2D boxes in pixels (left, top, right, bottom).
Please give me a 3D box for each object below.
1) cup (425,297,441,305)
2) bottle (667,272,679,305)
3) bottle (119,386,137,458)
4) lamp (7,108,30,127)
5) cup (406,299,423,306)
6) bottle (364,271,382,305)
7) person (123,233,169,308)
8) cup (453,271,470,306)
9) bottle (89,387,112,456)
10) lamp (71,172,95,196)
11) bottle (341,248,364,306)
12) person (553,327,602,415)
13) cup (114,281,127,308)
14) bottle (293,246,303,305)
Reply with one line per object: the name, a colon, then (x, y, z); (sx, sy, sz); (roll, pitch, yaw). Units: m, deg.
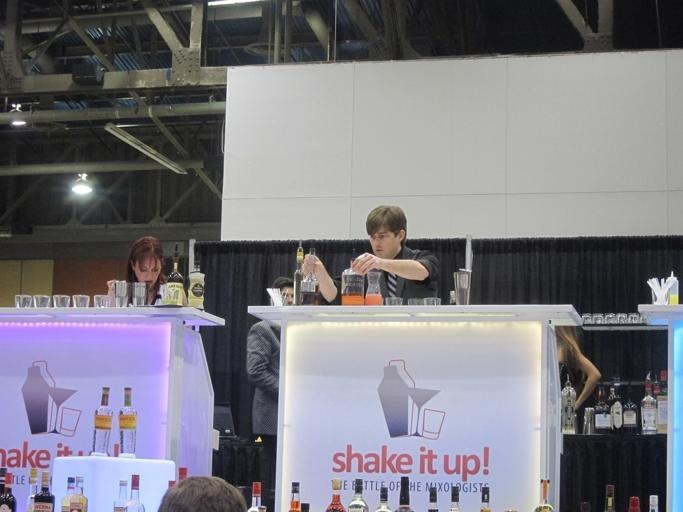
cup: (0.781, 0.389, 15.600); (0.075, 0.059, 0.081); (1, -2, 0)
bottle: (2.831, 0.284, 15.483); (0.088, 0.295, 0.285); (-2, -10, 8)
bottle: (-1.826, 1.421, 15.537); (0.161, 0.579, 0.207); (1, -10, -8)
lamp: (-4.020, -1.753, 22.636); (0.223, 0.263, 0.391); (1, -11, -11)
cup: (0.647, 0.393, 15.575); (0.072, 0.058, 0.070); (0, -4, 0)
bottle: (0.281, 0.266, 15.666); (0.139, 0.323, 0.151); (-1, -10, 0)
person: (-1.718, 0.113, 16.025); (0.450, 0.766, 0.487); (1, -10, -14)
cup: (1.046, 0.262, 15.660); (0.137, 0.345, 0.229); (-1, -10, 3)
bottle: (-2.040, 1.420, 15.522); (0.179, 0.566, 0.305); (1, -10, -8)
lamp: (-3.472, -0.983, 24.351); (0.326, 0.355, 0.353); (0, -24, -4)
bottle: (0.113, 0.237, 15.659); (0.208, 0.411, 0.190); (-1, -10, 0)
person: (2.294, 1.146, 17.735); (0.358, 1.220, 0.617); (4, -15, -10)
cup: (-1.904, 0.325, 15.710); (0.116, 0.224, 0.060); (1, -10, -9)
bottle: (-0.361, 0.161, 15.724); (0.078, 0.527, 0.182); (-1, -10, -1)
